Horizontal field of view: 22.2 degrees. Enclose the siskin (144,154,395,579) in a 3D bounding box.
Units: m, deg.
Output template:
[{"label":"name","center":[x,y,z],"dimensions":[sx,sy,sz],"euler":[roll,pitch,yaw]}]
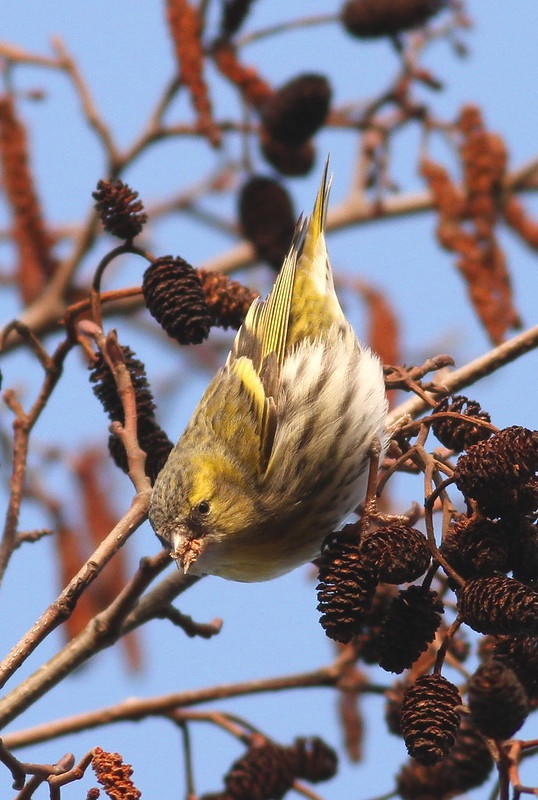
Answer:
[{"label":"siskin","center":[0.018,0.009,4.169],"dimensions":[0.643,0.535,1.262],"euler":[22,71,-16]}]
